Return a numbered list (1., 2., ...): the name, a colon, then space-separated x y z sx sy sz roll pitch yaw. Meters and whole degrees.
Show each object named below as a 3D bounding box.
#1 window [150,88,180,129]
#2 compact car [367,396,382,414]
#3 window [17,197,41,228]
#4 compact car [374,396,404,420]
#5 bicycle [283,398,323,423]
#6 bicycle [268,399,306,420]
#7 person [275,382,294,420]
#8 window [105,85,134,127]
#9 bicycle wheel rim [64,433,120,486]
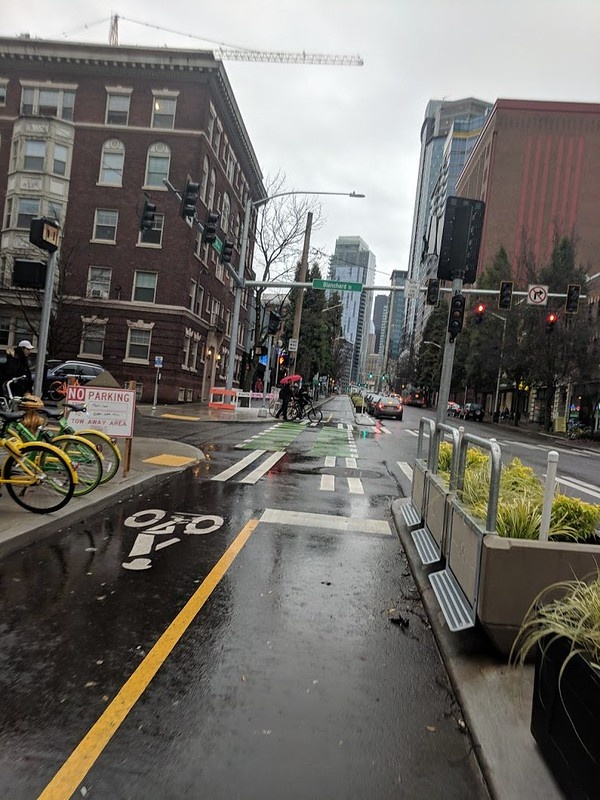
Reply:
1. window: -7.880 -17.247 30.893 1.702 3.515 0.477 1 3 -7
2. compact car: 5.706 0.456 42.459 0.718 0.955 1.893 1 10 4
3. window: -15.537 -10.671 30.109 1.122 1.649 0.568 3 0 11
4. compact car: 6.073 0.597 36.528 1.933 1.647 1.836 4 0 38
5. bicycle: 0.193 0.626 27.220 1.669 1.367 0.940 -3 9 -20
6. bicycle: -0.654 0.451 26.875 1.626 1.330 0.934 3 -3 -14
7. person: -0.829 0.078 24.951 0.686 1.779 1.879 3 0 -4
8. window: -10.633 -17.387 31.057 1.745 3.476 0.668 1 -1 -9
9. bicycle wheel rim: -2.731 0.790 7.476 0.594 0.832 0.165 -2 -3 -5
